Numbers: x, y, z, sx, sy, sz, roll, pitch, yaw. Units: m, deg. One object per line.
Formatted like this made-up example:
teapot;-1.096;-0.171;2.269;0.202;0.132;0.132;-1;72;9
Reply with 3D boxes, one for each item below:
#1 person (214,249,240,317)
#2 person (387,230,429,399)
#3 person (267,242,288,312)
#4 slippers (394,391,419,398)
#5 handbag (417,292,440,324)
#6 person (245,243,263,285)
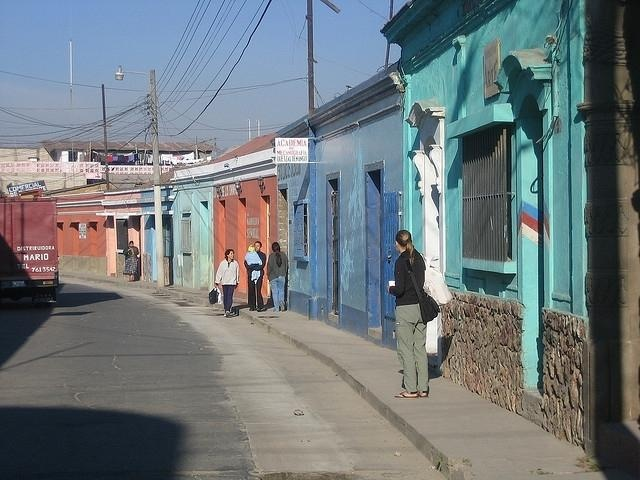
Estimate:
person;-2.306;1.068;23.260;0.543;1.699;0.971;0;2;-7
person;1.201;0.986;12.432;0.539;2.224;0.338;0;2;0
person;-1.045;0.913;22.986;0.405;1.707;0.681;1;2;18
slippers;1.161;2.024;12.393;0.302;0.150;0.118;2;-1;22
handbag;1.446;0.916;12.444;0.312;0.469;0.245;6;-7;-44
person;-1.639;0.608;23.347;0.424;0.910;0.304;0;2;-5
